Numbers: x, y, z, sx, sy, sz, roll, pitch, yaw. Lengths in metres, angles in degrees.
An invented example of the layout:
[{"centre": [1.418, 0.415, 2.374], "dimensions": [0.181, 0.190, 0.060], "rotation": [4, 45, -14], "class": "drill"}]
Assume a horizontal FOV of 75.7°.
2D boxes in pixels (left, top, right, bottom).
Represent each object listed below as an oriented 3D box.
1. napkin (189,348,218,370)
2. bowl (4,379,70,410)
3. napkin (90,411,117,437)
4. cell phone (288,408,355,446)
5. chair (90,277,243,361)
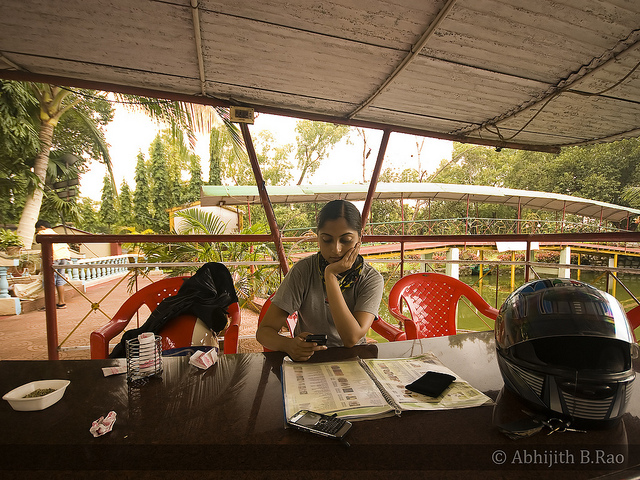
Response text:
[{"centre": [-0.542, 0.537, 1.905], "dimensions": [0.093, 0.035, 0.082], "rotation": [5, 38, 2], "class": "napkin"}, {"centre": [-1.166, 0.627, 1.679], "dimensions": [0.146, 0.036, 0.128], "rotation": [1, 2, -8], "class": "bowl"}, {"centre": [-0.817, 0.691, 1.545], "dimensions": [0.060, 0.027, 0.079], "rotation": [35, 52, 20], "class": "napkin"}, {"centre": [0.011, 0.701, 1.557], "dimensions": [0.185, 0.023, 0.100], "rotation": [14, 14, 16], "class": "cell phone"}, {"centre": [-0.960, 0.608, 2.637], "dimensions": [0.874, 0.556, 0.769], "rotation": [4, 5, -20], "class": "chair"}]
